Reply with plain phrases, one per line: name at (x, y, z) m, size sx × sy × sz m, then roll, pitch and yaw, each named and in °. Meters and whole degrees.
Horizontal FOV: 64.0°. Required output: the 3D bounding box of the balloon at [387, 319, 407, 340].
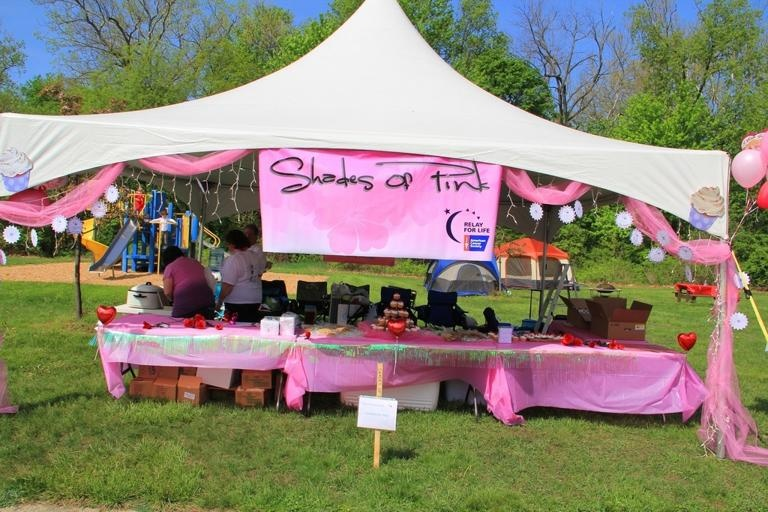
balloon at (0.176, 1.026, 8.744) m, size 0.305 × 0.299 × 0.229 m, roll 2°, pitch -6°, yaw 0°

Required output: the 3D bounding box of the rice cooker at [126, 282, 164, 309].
rice cooker at (-4.003, 0.687, 10.329) m, size 0.458 × 0.345 × 0.505 m, roll 3°, pitch -2°, yaw 6°
